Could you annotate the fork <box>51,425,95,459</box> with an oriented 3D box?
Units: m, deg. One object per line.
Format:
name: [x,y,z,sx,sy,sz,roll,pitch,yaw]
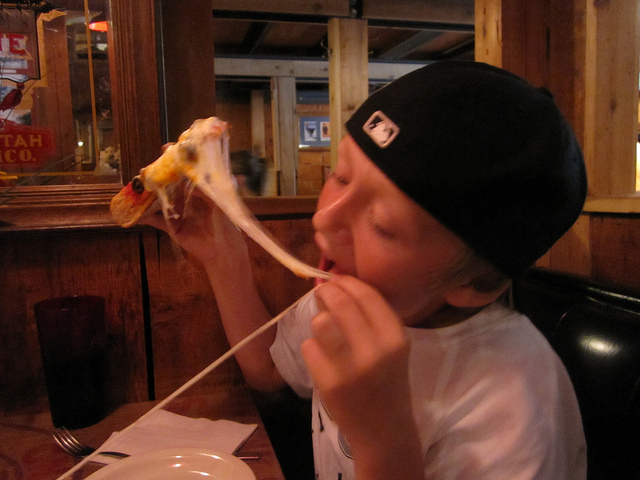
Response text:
fork: [-0.733,0.583,1.702,0.211,0.040,0.056,20,20,41]

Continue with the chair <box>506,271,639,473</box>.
chair: [0.720,0.385,1.597,0.284,0.401,0.543,0,7,-4]

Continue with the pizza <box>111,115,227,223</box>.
pizza: [-0.414,-0.169,1.630,0.121,0.146,0.468,-31,13,44]

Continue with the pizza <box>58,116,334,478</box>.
pizza: [-0.424,0.198,1.802,0.333,1.219,0.525,38,10,-40]
